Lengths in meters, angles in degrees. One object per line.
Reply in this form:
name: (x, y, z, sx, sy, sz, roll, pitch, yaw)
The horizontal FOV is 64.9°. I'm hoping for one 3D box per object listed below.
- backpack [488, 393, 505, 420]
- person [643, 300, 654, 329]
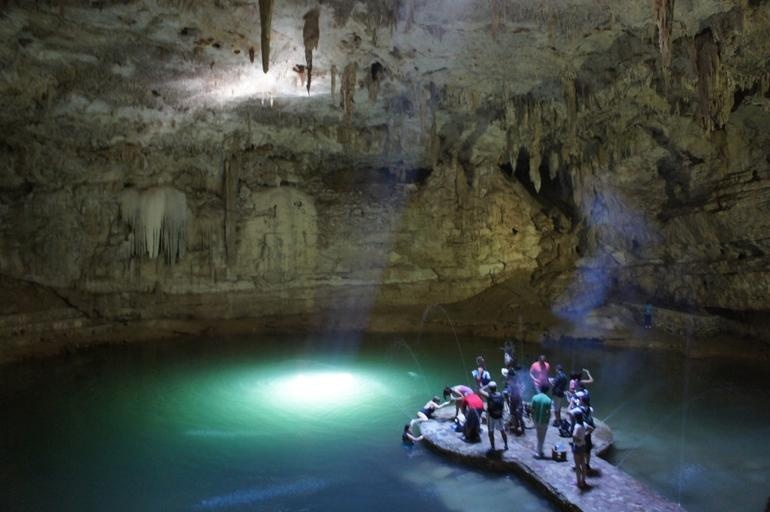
backpack: (2.887, 3.931, 15.972, 0.402, 0.677, 0.278, 2, 15, 10)
person: (10.444, 2.339, 24.038, 0.332, 0.924, 0.416, 5, 15, 20)
